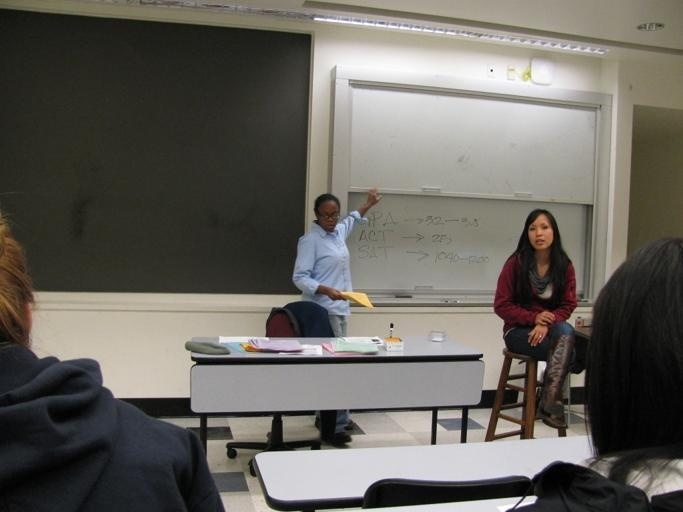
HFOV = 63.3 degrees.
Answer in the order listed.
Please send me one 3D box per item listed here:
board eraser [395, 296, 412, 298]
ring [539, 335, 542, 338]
[{"bbox_3d":[0.540,0.353,4.795,0.142,0.028,0.026,-1,12,-20],"label":"board eraser"},{"bbox_3d":[1.334,0.544,3.722,0.021,0.021,0.005,0,2,3],"label":"ring"}]
